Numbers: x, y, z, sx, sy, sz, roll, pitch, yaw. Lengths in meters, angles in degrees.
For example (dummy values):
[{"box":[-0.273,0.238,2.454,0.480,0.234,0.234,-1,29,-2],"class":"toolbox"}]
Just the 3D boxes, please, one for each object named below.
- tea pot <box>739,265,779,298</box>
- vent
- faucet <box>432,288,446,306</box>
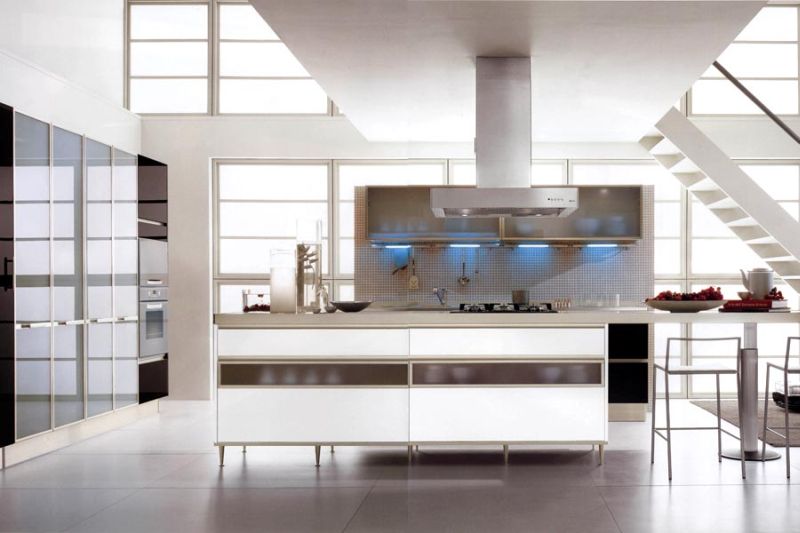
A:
[{"box":[3.373,0.160,7.397,0.387,0.348,0.235,-1,-5,25],"class":"tea pot"},{"box":[0.992,-1.277,7.442,1.287,1.377,0.473,1,15,8],"class":"vent"},{"box":[0.517,0.366,9.849,0.143,0.195,0.220,-7,16,-21],"class":"faucet"}]
